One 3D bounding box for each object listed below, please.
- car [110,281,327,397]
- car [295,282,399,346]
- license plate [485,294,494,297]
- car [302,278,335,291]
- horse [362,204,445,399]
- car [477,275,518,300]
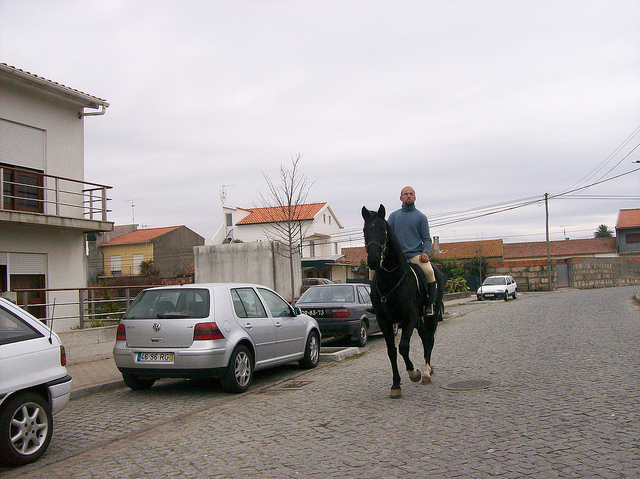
[{"bbox_3d":[-1.781,1.801,9.981,3.589,1.811,1.578,-1,-2,-44],"label":"car"},{"bbox_3d":[0.880,2.025,15.204,1.671,1.082,2.835,-2,-1,28],"label":"car"},{"bbox_3d":[11.504,3.792,35.532,0.573,0.133,0.148,-4,-2,19],"label":"license plate"},{"bbox_3d":[-0.327,4.093,45.411,2.804,0.996,1.355,0,-1,18],"label":"car"},{"bbox_3d":[1.319,0.986,8.689,0.742,3.094,2.383,-3,-1,28],"label":"horse"},{"bbox_3d":[12.416,3.312,36.582,1.533,1.222,2.641,-5,-11,26],"label":"car"}]
